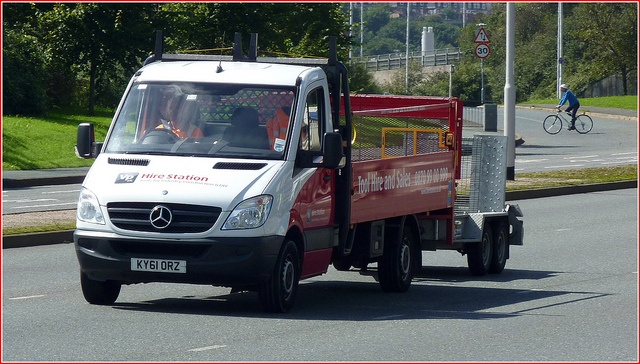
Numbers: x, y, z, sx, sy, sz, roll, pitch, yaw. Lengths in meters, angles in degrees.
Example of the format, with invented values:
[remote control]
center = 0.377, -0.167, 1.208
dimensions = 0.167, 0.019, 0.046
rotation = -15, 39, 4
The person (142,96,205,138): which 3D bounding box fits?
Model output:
[person]
center = -2.424, -1.096, 16.305
dimensions = 0.689, 0.824, 0.514
rotation = -3, -10, 25
